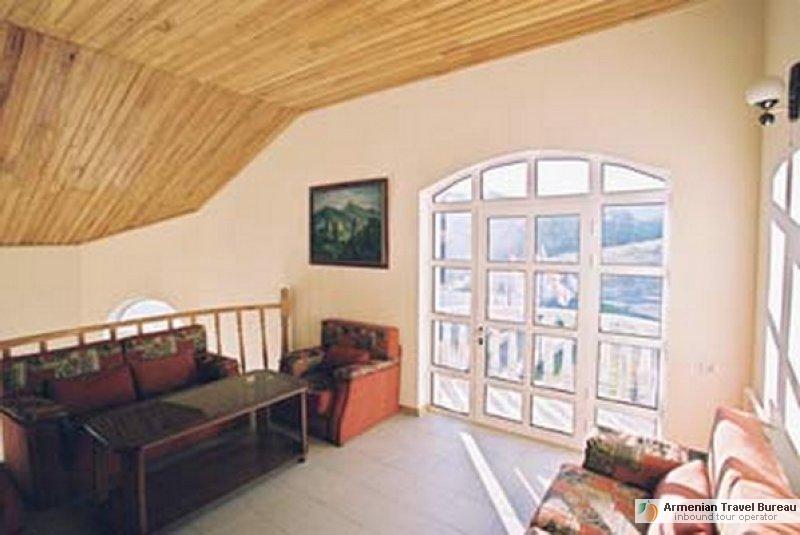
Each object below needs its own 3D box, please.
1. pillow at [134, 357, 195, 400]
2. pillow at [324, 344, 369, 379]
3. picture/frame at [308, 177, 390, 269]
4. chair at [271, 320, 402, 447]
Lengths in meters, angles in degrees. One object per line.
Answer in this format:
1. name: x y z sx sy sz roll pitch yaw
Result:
1. pillow: -2.481 1.155 5.625 0.151 0.346 0.585 -13 -8 38
2. pillow: -0.607 1.048 6.036 0.488 0.280 0.133 -10 -21 43
3. picture/frame: -0.587 -0.550 6.508 1.162 0.959 0.075 2 6 31
4. chair: -0.713 1.221 6.072 1.250 1.037 1.175 2 7 25
